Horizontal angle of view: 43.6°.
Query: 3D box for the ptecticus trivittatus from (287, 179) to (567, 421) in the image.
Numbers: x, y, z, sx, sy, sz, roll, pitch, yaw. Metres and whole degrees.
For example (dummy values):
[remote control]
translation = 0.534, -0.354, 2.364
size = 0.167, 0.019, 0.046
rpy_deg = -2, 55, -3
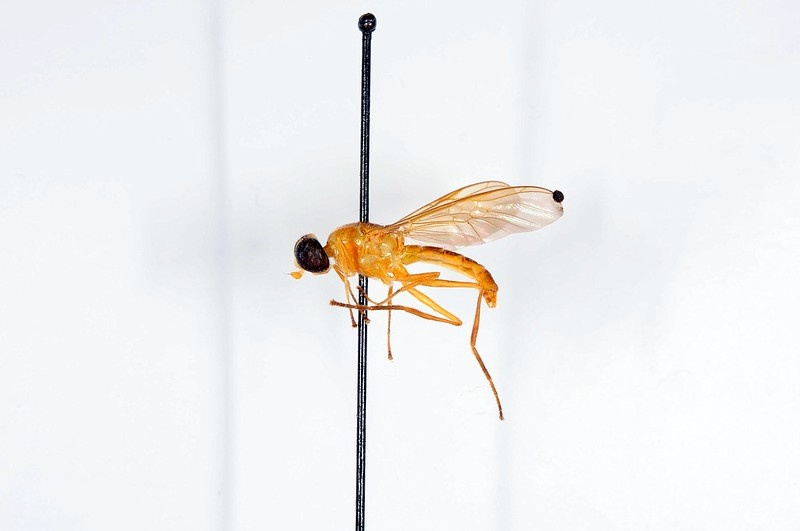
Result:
[ptecticus trivittatus]
translation = 0.082, 0.003, 2.236
size = 0.605, 0.099, 0.296
rpy_deg = -16, -82, 2
